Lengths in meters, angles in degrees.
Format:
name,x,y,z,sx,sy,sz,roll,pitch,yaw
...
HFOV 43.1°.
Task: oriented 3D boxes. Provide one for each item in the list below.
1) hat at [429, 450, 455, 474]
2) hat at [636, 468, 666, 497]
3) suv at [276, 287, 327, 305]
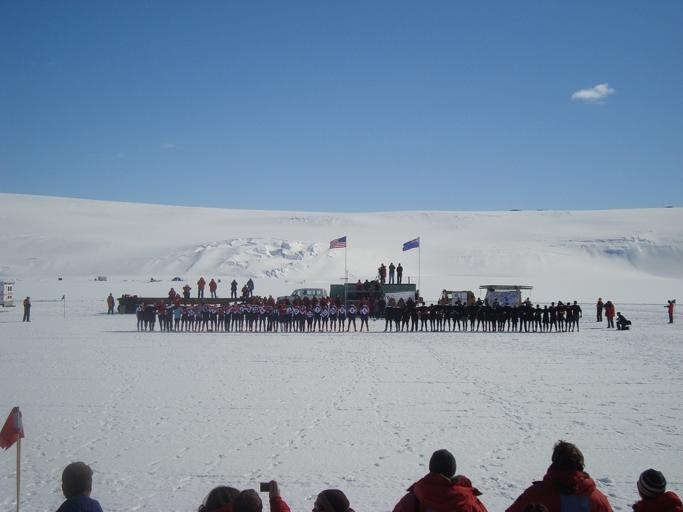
name,x,y,z,sx,sy,sz,roll,pitch,yaw
hat,1.724,3.437,14.377,0.375,0.374,0.459,2,6,-8
hat,5.218,3.733,14.465,0.416,0.386,0.482,5,13,11
suv,-2.438,2.477,55.760,2.783,1.103,1.464,1,-3,3
